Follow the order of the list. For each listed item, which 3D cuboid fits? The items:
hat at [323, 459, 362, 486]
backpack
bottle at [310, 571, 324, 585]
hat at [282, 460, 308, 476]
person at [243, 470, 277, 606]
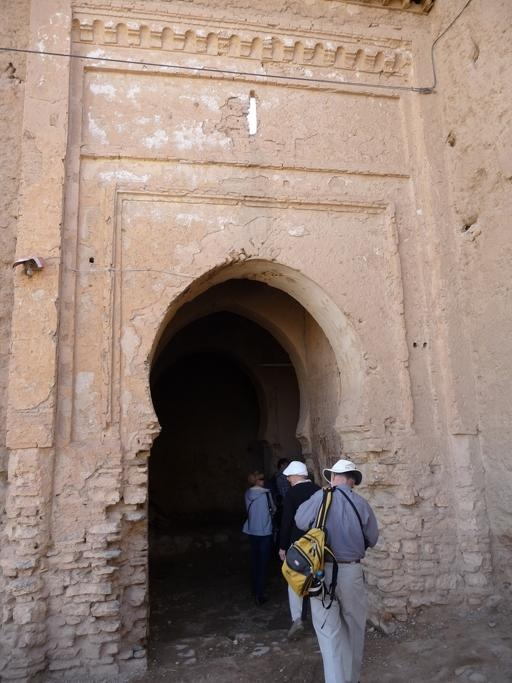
[{"bbox_3d":[0.631,0.915,4.736,0.280,0.129,0.304,4,-27,1],"label":"hat"},{"bbox_3d":[0.376,1.343,4.308,0.406,0.754,0.260,-1,-13,-13],"label":"backpack"},{"bbox_3d":[0.393,1.480,4.191,0.090,0.081,0.053,-4,4,-1],"label":"bottle"},{"bbox_3d":[0.319,1.044,5.471,0.169,0.079,0.122,0,-10,31],"label":"hat"},{"bbox_3d":[0.047,1.998,6.923,0.334,1.263,0.756,-3,-12,-2],"label":"person"}]
